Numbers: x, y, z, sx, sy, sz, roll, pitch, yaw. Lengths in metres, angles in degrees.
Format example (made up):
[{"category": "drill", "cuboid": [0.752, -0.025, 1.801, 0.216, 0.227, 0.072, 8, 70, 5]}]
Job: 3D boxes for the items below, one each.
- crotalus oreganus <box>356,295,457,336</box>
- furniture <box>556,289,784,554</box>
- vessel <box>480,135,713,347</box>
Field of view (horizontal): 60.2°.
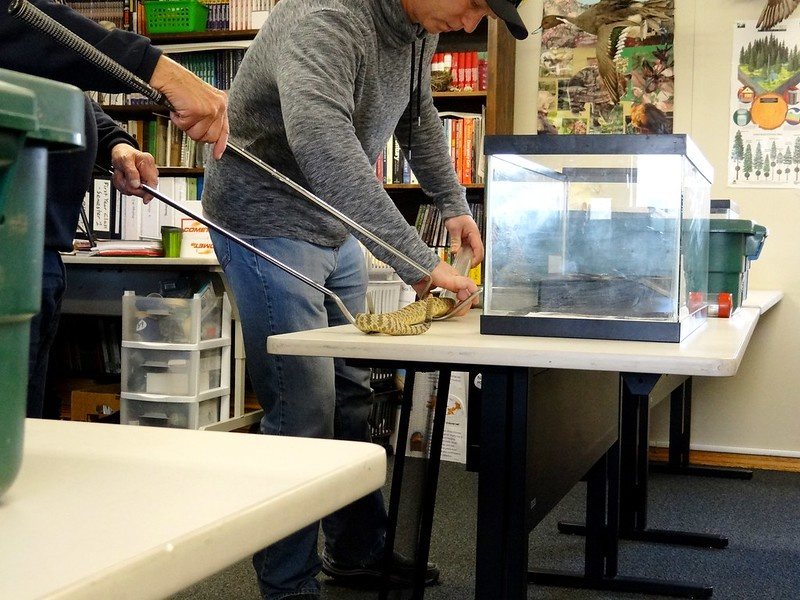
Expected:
[{"category": "crotalus oreganus", "cuboid": [0.026, 0.032, 1.364, 0.078, 0.034, 0.195, 21, 10, 27]}, {"category": "furniture", "cuboid": [1.051, 0.205, 2.847, 0.844, 0.802, 1.659, 0, 3, 23]}, {"category": "vessel", "cuboid": [0.379, -0.123, 1.346, 0.345, 0.373, 0.621, 1, 4, 16]}]
